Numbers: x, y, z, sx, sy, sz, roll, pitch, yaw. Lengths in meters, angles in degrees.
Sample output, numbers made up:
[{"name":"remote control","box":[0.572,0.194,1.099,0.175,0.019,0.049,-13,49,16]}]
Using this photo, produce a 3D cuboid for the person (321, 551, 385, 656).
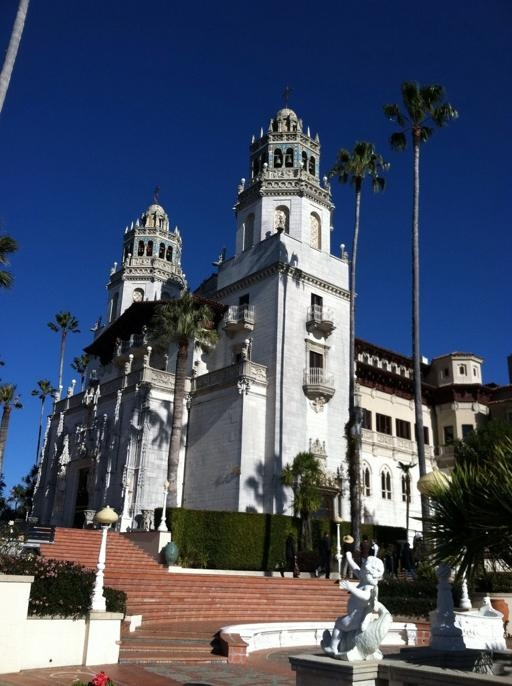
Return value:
[{"name":"person","box":[0.993,2.569,5.488,0.612,0.912,0.427,-3,-21,13]}]
